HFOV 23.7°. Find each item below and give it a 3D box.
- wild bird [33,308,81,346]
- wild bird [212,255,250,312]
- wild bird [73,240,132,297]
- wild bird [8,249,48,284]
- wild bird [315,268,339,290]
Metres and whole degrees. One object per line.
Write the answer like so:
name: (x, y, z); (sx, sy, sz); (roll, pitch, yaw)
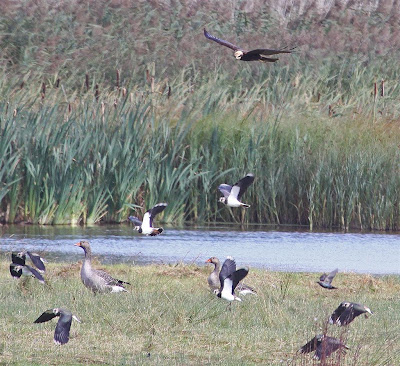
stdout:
wild bird: (-2.176, 2.223, 14.404); (0.580, 0.710, 0.780); (-4, 16, -23)
wild bird: (0.492, 1.636, 15.731); (0.463, 0.707, 0.904); (-1, -12, -2)
wild bird: (-1.723, 1.554, 16.291); (1.027, 0.813, 0.503); (10, 15, 26)
wild bird: (-2.908, 1.446, 16.122); (0.281, 0.502, 0.725); (-46, 25, -14)
wild bird: (2.289, 1.769, 17.055); (0.278, 0.300, 0.459); (5, -17, -10)
